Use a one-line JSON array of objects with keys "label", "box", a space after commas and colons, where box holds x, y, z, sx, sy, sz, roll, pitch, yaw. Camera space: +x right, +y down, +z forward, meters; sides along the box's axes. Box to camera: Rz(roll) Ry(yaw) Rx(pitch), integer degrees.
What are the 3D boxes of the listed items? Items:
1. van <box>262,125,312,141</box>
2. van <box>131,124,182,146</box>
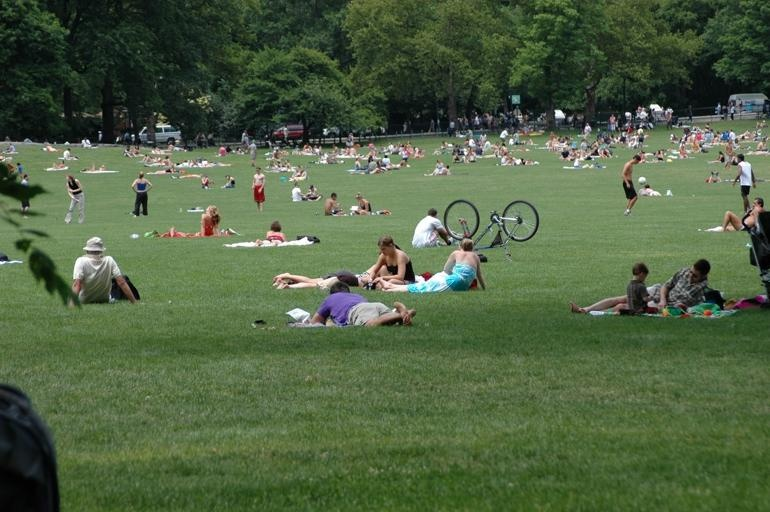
[{"label": "van", "box": [-10.678, -13.479, 167.368, 3.589, 1.674, 1.896, 0, 5, -9]}, {"label": "van", "box": [-26.238, -14.625, 176.121, 5.295, 2.628, 3.173, 0, 0, -31]}]
